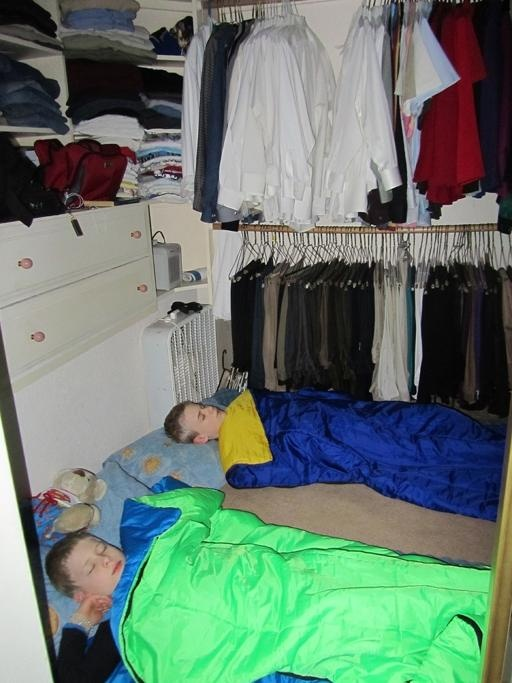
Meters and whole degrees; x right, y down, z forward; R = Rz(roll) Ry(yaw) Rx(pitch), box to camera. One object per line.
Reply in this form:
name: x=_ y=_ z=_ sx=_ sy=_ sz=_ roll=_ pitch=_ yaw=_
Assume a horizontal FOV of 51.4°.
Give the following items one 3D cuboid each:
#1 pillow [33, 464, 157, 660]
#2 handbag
pillow: x=-0.525 y=0.677 z=1.793 sx=0.157 sy=0.582 sz=0.420 roll=3 pitch=-12 yaw=-30
handbag: x=-0.642 y=-0.596 z=1.857 sx=0.278 sy=0.113 sz=0.301 roll=-21 pitch=4 yaw=-44
